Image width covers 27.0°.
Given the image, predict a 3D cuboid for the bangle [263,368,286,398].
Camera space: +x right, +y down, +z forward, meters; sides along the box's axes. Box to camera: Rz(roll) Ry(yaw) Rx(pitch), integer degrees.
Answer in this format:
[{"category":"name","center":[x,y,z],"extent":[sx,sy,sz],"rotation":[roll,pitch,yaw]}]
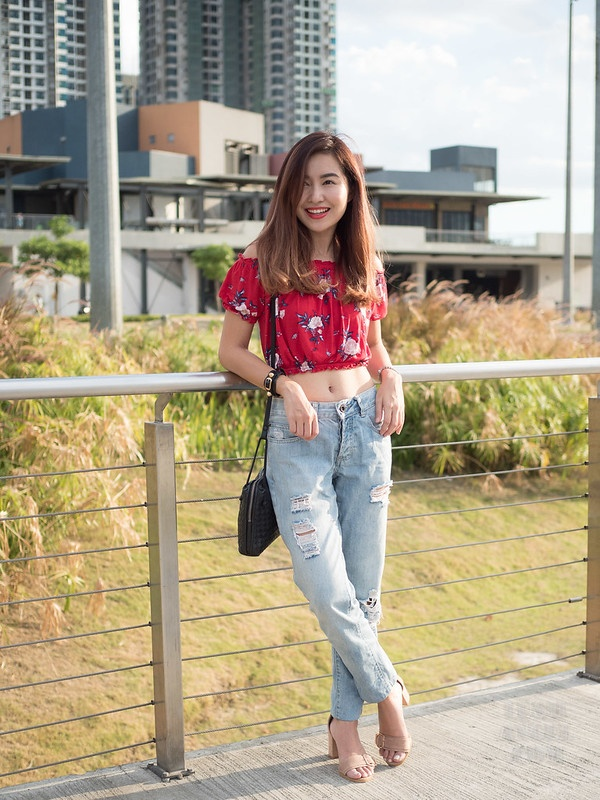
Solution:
[{"category":"bangle","center":[-0.070,-0.050,3.496],"extent":[0.048,0.069,0.043],"rotation":[17,20,42]}]

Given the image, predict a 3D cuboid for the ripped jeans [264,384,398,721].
[{"category":"ripped jeans","center":[0.091,0.417,3.563],"extent":[0.382,0.862,0.313],"rotation":[2,15,-3]}]

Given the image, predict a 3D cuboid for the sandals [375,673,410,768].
[{"category":"sandals","center":[0.275,0.927,3.639],"extent":[0.085,0.266,0.062],"rotation":[-5,5,34]}]
